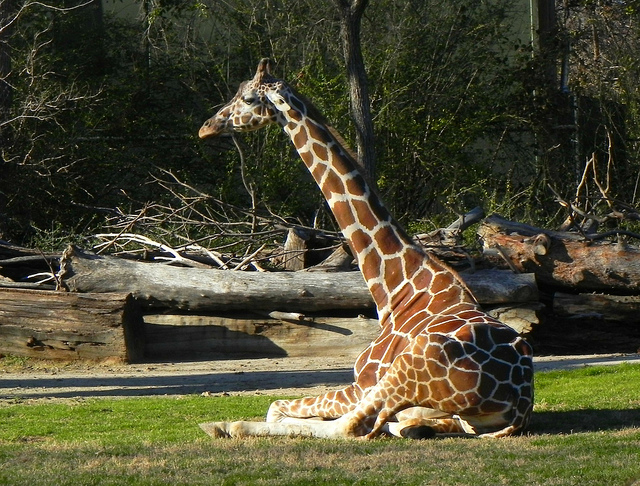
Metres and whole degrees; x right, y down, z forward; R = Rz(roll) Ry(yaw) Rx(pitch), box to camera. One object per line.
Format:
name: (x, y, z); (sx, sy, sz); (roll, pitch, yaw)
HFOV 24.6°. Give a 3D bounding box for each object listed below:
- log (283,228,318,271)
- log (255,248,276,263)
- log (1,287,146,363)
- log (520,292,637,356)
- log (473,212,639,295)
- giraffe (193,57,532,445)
log: (-0.444, 0.117, 30.615); (0.834, 0.898, 0.835); (2, 15, -12)
log: (-1.202, 0.240, 31.576); (0.303, 0.084, 0.281); (-17, 30, 29)
log: (-4.987, 1.628, 28.793); (2.530, 1.467, 1.293); (-1, 28, -2)
log: (5.375, 1.626, 29.770); (1.991, 1.144, 1.443); (0, 3, 12)
log: (5.028, 0.263, 30.336); (3.923, 1.271, 1.336); (5, 8, 6)
giraffe: (1.067, 0.027, 24.205); (4.684, 6.348, 1.784); (-1, 2, 9)
